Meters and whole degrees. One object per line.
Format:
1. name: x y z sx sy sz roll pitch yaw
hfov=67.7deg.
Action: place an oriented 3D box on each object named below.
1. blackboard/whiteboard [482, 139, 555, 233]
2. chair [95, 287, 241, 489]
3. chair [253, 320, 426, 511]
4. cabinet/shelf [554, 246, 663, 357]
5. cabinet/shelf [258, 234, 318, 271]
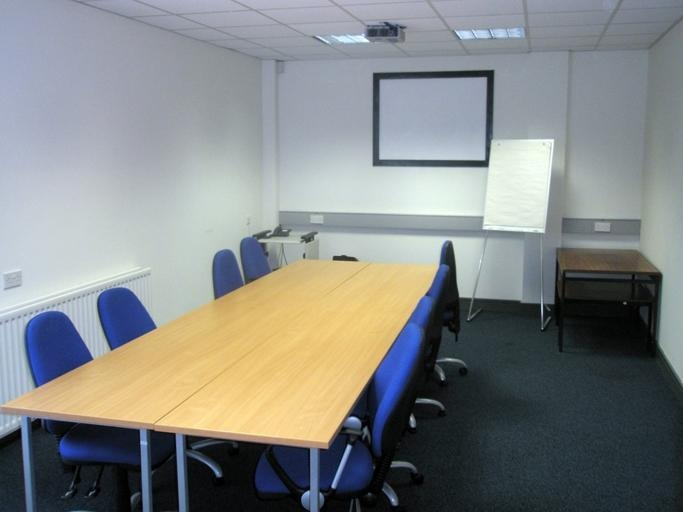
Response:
1. blackboard/whiteboard: 2.172 -0.847 6.157 0.944 1.467 0.091 5 3 18
2. chair: -1.196 0.785 3.400 0.777 1.303 0.861 -4 -2 5
3. chair: 0.032 0.785 3.009 0.954 1.271 0.944 2 5 12
4. cabinet/shelf: 3.091 0.449 6.049 1.010 0.915 1.843 2 10 27
5. cabinet/shelf: -0.677 -0.072 7.010 0.674 0.628 0.535 3 18 25
